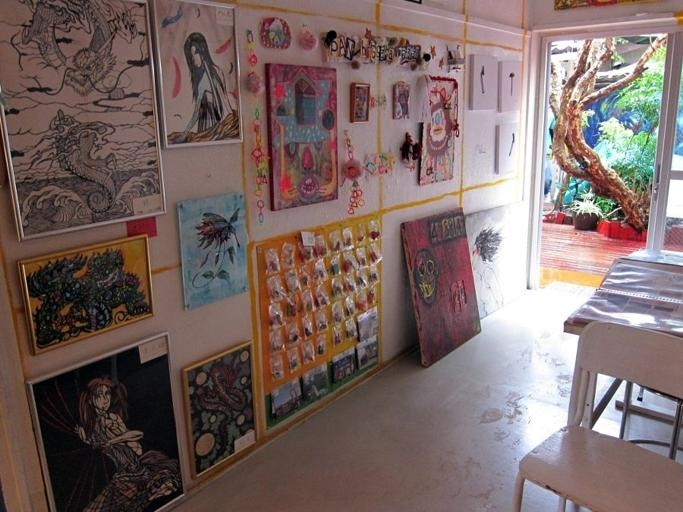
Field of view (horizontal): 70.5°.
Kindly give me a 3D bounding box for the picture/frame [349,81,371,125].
[{"bbox_3d":[0.134,-1.030,3.284,0.063,0.257,0.233,8,18,34],"label":"picture/frame"}]
